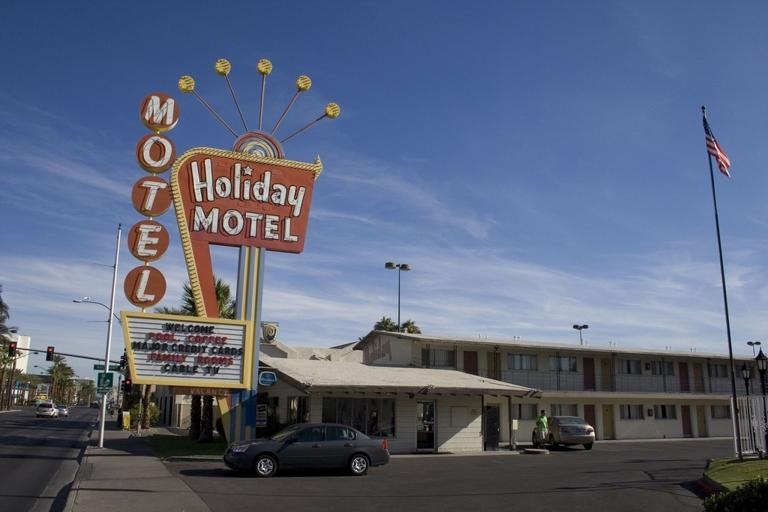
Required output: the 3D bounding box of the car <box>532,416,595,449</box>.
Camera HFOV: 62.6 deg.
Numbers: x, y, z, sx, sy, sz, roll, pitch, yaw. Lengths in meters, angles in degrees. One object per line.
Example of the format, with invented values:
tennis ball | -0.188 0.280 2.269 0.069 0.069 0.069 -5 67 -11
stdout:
car | 11.297 10.698 38.129 2.552 1.913 1.679 -1 -15 7
